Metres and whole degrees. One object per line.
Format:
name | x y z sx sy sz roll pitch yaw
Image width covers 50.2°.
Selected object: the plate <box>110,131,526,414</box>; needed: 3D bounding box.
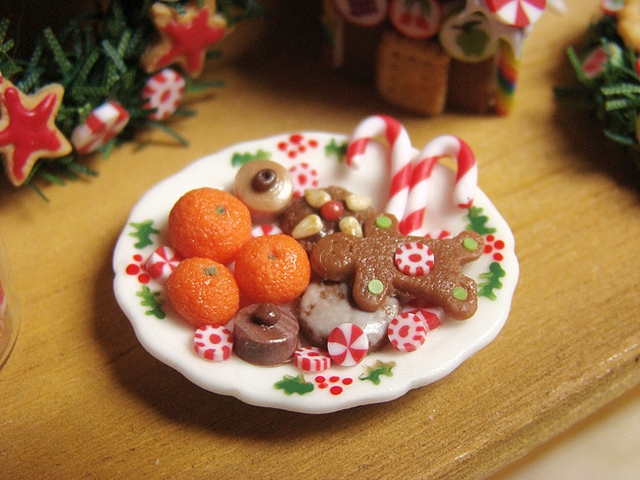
plate | -0.009 0.037 1.343 0.764 0.070 0.636 22 60 8
